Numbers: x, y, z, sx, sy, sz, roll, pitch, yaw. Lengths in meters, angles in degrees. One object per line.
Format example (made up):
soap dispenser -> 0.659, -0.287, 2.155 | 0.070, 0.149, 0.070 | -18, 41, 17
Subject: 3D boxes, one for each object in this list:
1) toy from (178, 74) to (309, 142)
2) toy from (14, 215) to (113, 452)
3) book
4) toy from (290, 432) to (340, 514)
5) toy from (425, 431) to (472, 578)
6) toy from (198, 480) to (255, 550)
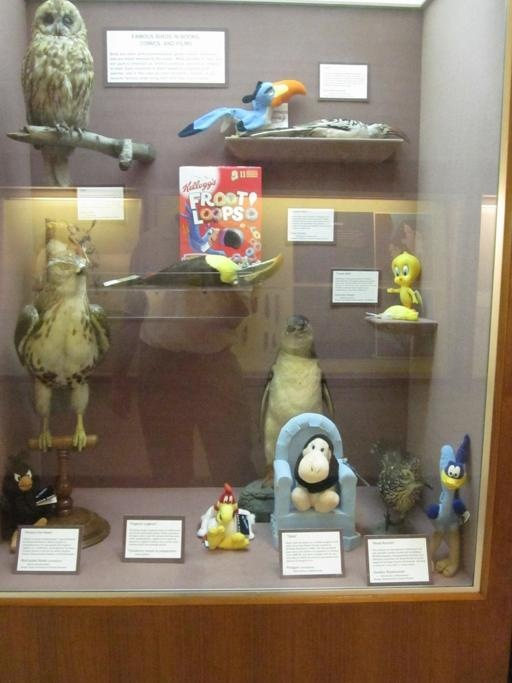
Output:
toy -> -0.025, -0.429, 1.221 | 0.251, 0.090, 0.087 | -11, 17, -13
toy -> -0.361, -0.002, 1.216 | 0.173, 0.438, 0.076 | -4, 16, -11
book -> -0.072, -0.243, 1.211 | 0.187, 0.242, 0.026 | 0, -2, -3
toy -> 0.112, 0.249, 1.222 | 0.089, 0.130, 0.073 | 1, 15, 7
toy -> 0.351, 0.287, 1.196 | 0.073, 0.238, 0.136 | 2, 15, 11
toy -> -0.049, 0.336, 1.249 | 0.107, 0.119, 0.095 | -5, 14, -38
